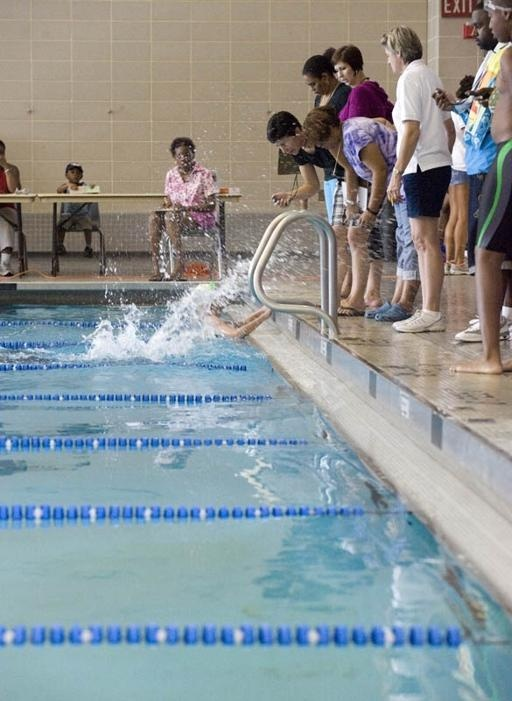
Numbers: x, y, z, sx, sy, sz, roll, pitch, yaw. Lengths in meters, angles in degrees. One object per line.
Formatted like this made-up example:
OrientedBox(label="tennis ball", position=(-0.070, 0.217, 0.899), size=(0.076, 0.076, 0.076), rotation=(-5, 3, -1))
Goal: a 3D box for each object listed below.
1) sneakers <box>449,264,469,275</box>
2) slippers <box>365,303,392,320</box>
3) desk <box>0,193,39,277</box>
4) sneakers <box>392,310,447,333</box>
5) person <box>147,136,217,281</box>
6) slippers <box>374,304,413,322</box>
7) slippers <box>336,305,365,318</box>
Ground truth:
OrientedBox(label="sneakers", position=(1.854, -0.726, 6.766), size=(0.182, 0.083, 0.077), rotation=(-4, 12, -34))
OrientedBox(label="slippers", position=(0.627, -0.197, 3.854), size=(0.075, 0.056, 0.132), rotation=(-1, 4, 32))
OrientedBox(label="desk", position=(-2.908, -1.491, 9.307), size=(0.355, 0.933, 5.256), rotation=(-2, 9, -16))
OrientedBox(label="sneakers", position=(0.738, -0.124, 3.303), size=(0.239, 0.114, 0.090), rotation=(-1, 7, -6))
OrientedBox(label="person", position=(-0.709, -1.347, 7.070), size=(0.639, 1.348, 0.658), rotation=(2, 8, 15))
OrientedBox(label="slippers", position=(0.683, -0.179, 3.713), size=(0.144, 0.061, 0.089), rotation=(-1, 3, -34))
OrientedBox(label="slippers", position=(0.515, -0.204, 4.021), size=(0.158, 0.069, 0.058), rotation=(4, 0, -17))
